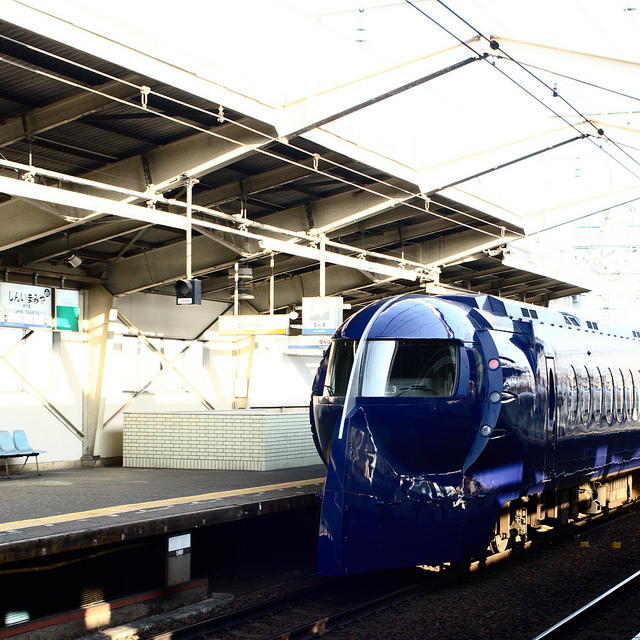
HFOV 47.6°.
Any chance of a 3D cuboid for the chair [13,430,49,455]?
[{"bbox_3d":[-6.332,2.634,15.698,0.921,0.455,0.493,-3,-6,27],"label":"chair"}]
